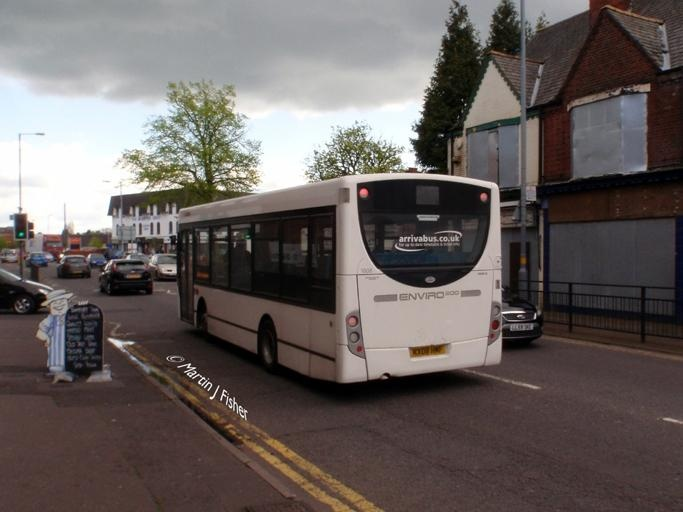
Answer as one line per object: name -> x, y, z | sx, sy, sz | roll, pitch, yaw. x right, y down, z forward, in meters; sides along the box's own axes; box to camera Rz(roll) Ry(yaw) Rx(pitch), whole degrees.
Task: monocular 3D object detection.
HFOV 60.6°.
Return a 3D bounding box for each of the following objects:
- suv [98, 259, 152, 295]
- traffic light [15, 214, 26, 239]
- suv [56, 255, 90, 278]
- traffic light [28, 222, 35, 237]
suv -> -10.301, 0.967, 27.670 | 2.729, 1.699, 1.683 | 3, 5, 44
traffic light -> -14.823, -1.363, 26.914 | 0.513, 1.177, 0.673 | -2, 4, -31
suv -> -18.632, 0.789, 40.653 | 1.850, 1.571, 1.584 | -1, 4, -22
traffic light -> -14.714, -1.207, 27.565 | 0.207, 0.765, 0.793 | -1, 3, -21
